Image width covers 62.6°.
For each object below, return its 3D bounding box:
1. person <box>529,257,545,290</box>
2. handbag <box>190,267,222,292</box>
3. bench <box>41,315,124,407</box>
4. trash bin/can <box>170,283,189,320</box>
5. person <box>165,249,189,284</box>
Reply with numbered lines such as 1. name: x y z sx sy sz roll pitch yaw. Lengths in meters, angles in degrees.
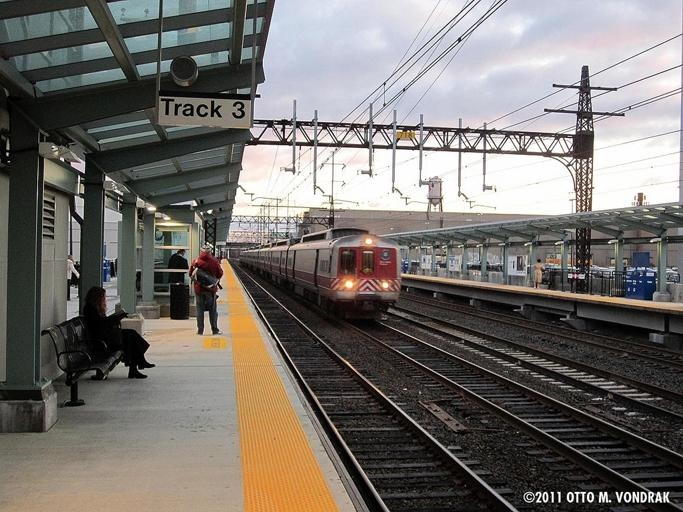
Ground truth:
1. person: 8.553 0.729 24.593 0.456 1.231 0.743 6 2 14
2. handbag: -3.151 0.538 13.037 0.639 0.364 0.432 4 2 -18
3. bench: -3.806 1.462 8.162 0.934 1.070 1.588 5 2 -17
4. trash bin/can: -4.563 1.274 16.022 0.631 0.668 0.459 4 3 -35
5. person: -4.949 0.302 17.019 0.677 1.055 0.524 5 2 -5
